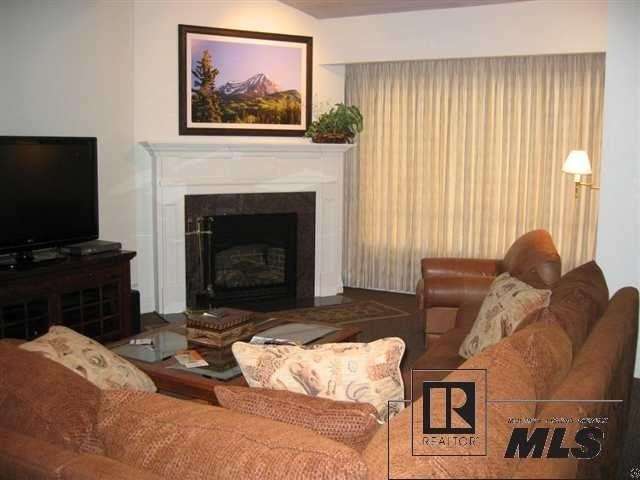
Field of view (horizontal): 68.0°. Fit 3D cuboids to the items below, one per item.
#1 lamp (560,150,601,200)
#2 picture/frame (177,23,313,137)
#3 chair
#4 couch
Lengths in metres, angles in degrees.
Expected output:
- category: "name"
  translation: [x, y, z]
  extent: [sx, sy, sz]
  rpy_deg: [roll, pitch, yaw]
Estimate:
- category: "lamp"
  translation: [2.629, -0.623, 4.709]
  extent: [0.505, 0.402, 0.269]
  rpy_deg: [6, -2, -8]
- category: "picture/frame"
  translation: [-0.944, -1.887, 5.535]
  extent: [1.660, 1.030, 0.037]
  rpy_deg: [-3, 9, -24]
- category: "chair"
  translation: [1.431, 0.403, 4.262]
  extent: [1.176, 0.868, 1.744]
  rpy_deg: [-2, 3, 12]
- category: "couch"
  translation: [0.817, 0.525, 1.802]
  extent: [0.407, 0.327, 0.891]
  rpy_deg: [6, 14, 31]
